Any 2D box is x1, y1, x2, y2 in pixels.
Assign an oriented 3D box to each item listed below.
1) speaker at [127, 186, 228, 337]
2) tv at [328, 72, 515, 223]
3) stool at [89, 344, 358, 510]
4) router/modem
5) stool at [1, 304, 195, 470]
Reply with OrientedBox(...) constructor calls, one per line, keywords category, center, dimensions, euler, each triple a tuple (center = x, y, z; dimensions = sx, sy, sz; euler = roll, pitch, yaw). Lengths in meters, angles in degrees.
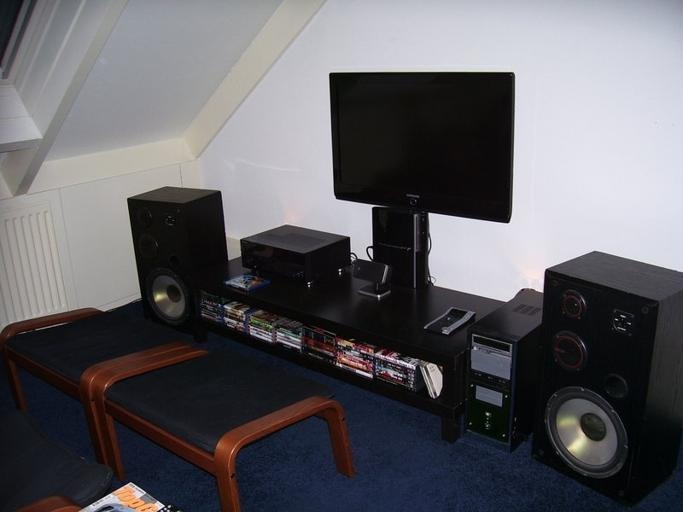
OrientedBox(category="speaker", center=(-1.085, 0.022, 3.515), dimensions=(0.424, 0.811, 0.374), euler=(6, 22, 18))
OrientedBox(category="tv", center=(0.389, -0.604, 2.832), dimensions=(0.975, 0.749, 0.106), euler=(10, 30, 25))
OrientedBox(category="stool", center=(-0.519, 0.403, 2.269), dimensions=(0.858, 0.464, 0.607), euler=(11, 18, 42))
OrientedBox(category="router/modem", center=(0.326, -0.054, 2.944), dimensions=(0.350, 0.488, 0.150), euler=(8, 16, 35))
OrientedBox(category="stool", center=(-1.287, 0.459, 2.849), dimensions=(0.905, 0.493, 0.650), euler=(14, 21, 37))
